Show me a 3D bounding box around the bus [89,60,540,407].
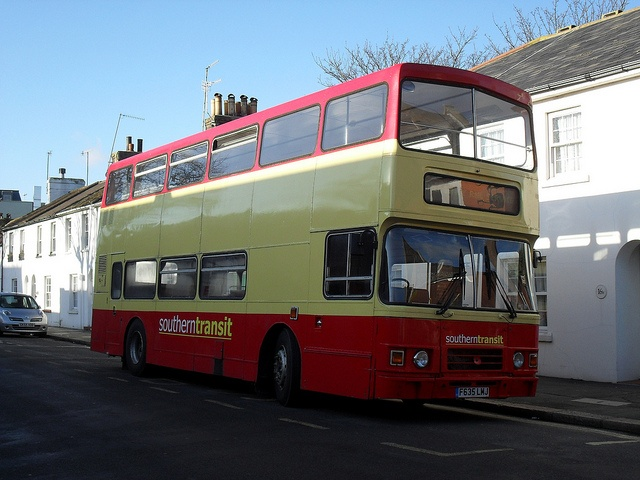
[{"bbox_3d":[-1.585,0.396,14.947,3.622,6.229,12.201,7,-8,-41],"label":"bus"}]
